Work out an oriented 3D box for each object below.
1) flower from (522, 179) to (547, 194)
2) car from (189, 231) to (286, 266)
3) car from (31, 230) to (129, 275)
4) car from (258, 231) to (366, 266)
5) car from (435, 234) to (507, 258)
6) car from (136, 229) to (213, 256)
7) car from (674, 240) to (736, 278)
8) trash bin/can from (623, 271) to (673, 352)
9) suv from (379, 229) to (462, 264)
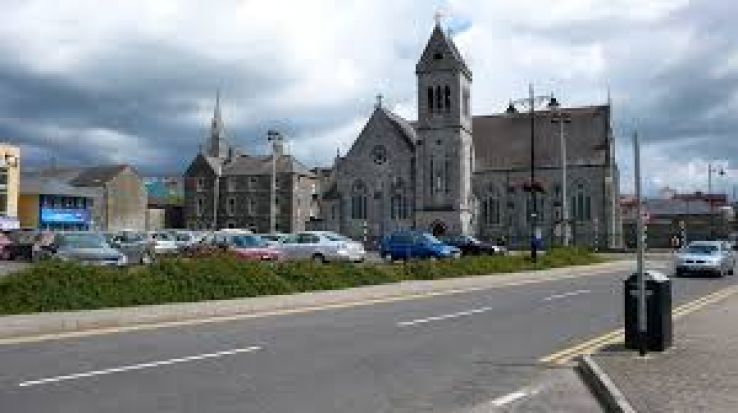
[{"bbox_3d":[9.369,-1.155,37.625,1.323,0.598,1.358,-2,-4,43],"label":"flower"},{"bbox_3d":[-6.496,1.935,30.989,4.194,1.106,1.976,-2,-4,39],"label":"car"},{"bbox_3d":[-13.035,1.997,28.610,2.843,1.755,6.413,-1,2,-37],"label":"car"},{"bbox_3d":[-2.753,2.213,33.992,4.537,1.167,1.984,2,-2,29],"label":"car"},{"bbox_3d":[6.317,2.542,39.496,2.483,1.666,5.595,2,-2,-33],"label":"car"},{"bbox_3d":[-11.076,2.055,36.424,2.309,1.400,4.898,0,-1,7],"label":"car"},{"bbox_3d":[18.174,2.859,34.463,2.760,1.962,6.463,-1,-2,43],"label":"car"},{"bbox_3d":[8.177,3.068,19.224,1.222,2.358,1.316,0,-1,-40],"label":"trash bin/can"},{"bbox_3d":[3.158,2.368,36.990,5.021,1.797,2.247,0,0,42],"label":"suv"}]
